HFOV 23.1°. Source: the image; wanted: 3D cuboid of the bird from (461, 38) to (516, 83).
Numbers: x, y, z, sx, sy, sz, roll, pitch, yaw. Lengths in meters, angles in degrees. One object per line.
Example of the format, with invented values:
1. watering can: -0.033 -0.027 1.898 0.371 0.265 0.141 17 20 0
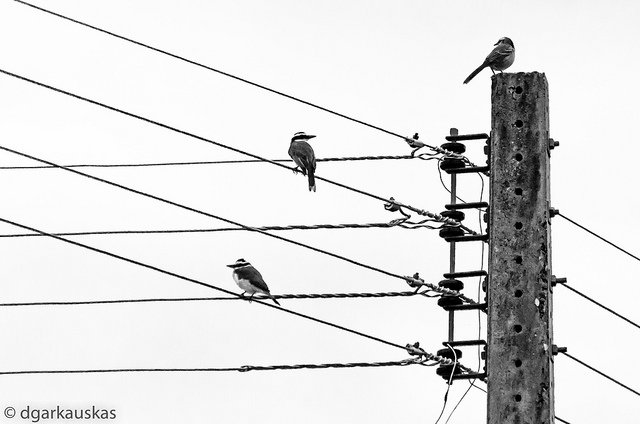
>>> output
1. bird: 2.288 -2.099 21.327 1.105 0.296 0.502 -13 -94 -33
